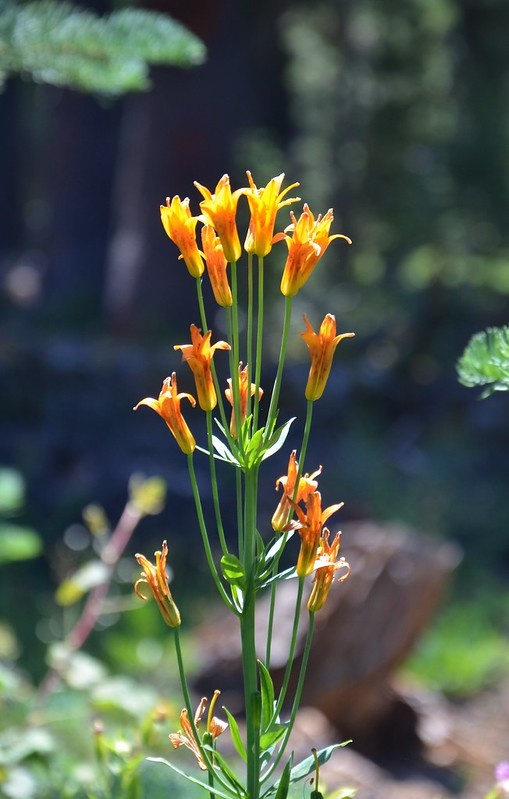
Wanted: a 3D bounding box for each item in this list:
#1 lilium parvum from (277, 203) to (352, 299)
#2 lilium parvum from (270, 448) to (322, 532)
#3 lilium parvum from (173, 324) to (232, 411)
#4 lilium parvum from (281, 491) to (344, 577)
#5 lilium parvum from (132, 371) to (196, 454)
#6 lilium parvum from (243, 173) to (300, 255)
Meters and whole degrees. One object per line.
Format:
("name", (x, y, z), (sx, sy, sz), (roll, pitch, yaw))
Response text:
("lilium parvum", (0.037, -0.119, 0.664), (0.066, 0.071, 0.067), (18, 13, 14))
("lilium parvum", (0.032, 0.080, 0.692), (0.042, 0.062, 0.037), (19, 10, 22))
("lilium parvum", (-0.040, -0.022, 0.661), (0.047, 0.061, 0.048), (-2, -12, -37))
("lilium parvum", (0.048, 0.115, 0.672), (0.047, 0.067, 0.048), (4, 9, -44))
("lilium parvum", (-0.065, 0.019, 0.665), (0.051, 0.060, 0.049), (-18, -1, -12))
("lilium parvum", (0.007, -0.148, 0.658), (0.055, 0.063, 0.054), (2, 4, -11))
